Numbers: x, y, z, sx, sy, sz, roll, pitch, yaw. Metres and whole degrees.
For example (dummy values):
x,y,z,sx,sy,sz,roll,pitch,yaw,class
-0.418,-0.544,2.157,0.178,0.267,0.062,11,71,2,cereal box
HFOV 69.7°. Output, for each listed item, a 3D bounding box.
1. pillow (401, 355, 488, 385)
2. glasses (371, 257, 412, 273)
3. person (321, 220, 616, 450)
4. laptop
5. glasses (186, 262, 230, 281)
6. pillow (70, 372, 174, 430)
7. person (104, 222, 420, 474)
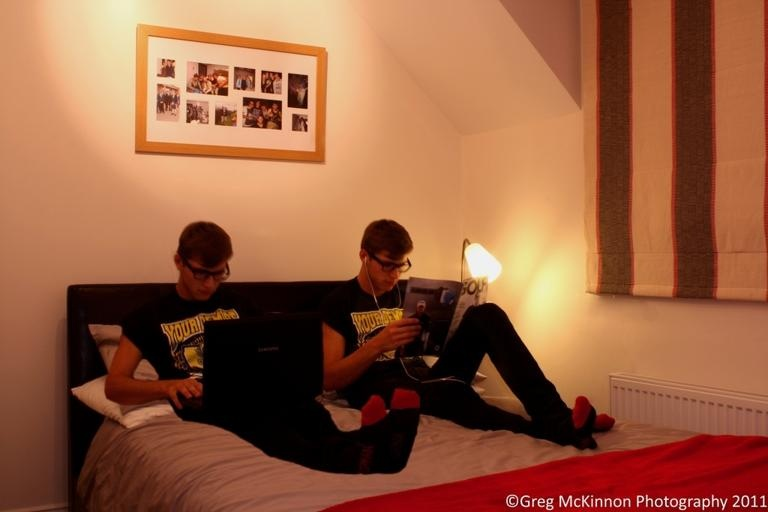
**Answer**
x,y,z,sx,sy,sz,roll,pitch,yaw,class
0.257,0.522,2.548,0.222,0.067,0.221,5,-6,-32,pillow
0.036,0.042,2.641,0.113,0.034,0.114,-2,30,-39,glasses
0.336,0.324,2.435,1.374,0.868,0.632,3,8,42,person
-0.445,0.477,2.284,0.556,0.445,0.408,-5,-13,1,laptop
-0.779,0.067,2.381,0.107,0.032,0.110,-1,28,-44,glasses
-1.070,0.604,2.224,0.276,0.080,0.266,25,3,36,pillow
-0.486,0.334,2.252,1.436,0.843,0.835,4,5,39,person
